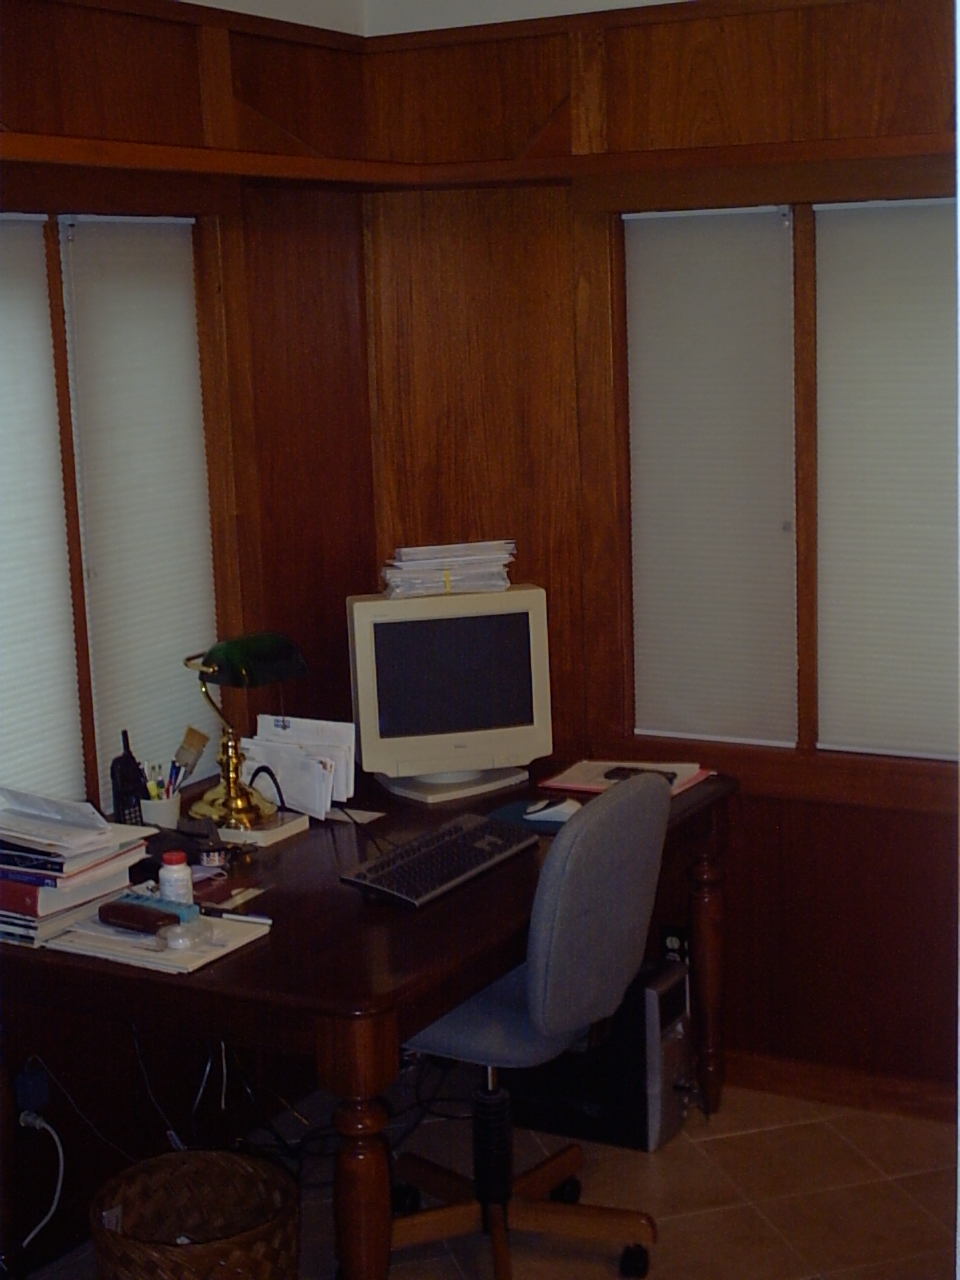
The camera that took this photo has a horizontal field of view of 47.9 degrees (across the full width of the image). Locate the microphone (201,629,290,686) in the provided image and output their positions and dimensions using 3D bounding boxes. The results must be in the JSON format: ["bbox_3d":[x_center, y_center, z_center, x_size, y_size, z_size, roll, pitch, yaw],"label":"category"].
[{"bbox_3d":[-0.420,0.036,1.993,0.171,0.082,0.102,-2,2,-17],"label":"microphone"}]

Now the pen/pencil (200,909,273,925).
[{"bbox_3d":[-0.358,0.406,1.581,0.064,0.009,0.009,15,3,11],"label":"pen/pencil"}]

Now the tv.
[{"bbox_3d":[-0.096,0.074,2.519,0.514,0.595,0.393,-3,3,-13],"label":"tv"}]
